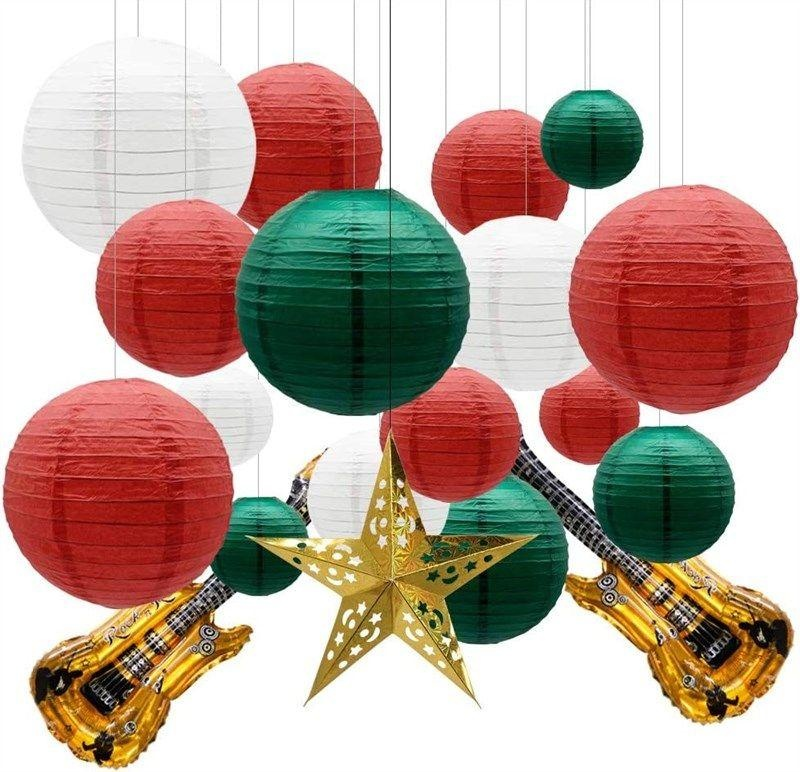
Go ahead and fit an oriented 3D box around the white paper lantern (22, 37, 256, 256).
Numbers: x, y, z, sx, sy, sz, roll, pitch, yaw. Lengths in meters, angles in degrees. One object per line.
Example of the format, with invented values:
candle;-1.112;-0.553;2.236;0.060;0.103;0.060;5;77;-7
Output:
white paper lantern;-0.952;-0.871;3.981;1.228;0.976;0.956;-1;6;-6

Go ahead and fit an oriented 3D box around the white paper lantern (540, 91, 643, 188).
white paper lantern;0.903;-1.123;4.419;0.481;0.399;0.389;3;19;16

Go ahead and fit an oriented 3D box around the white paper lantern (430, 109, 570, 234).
white paper lantern;0.496;-0.984;4.703;0.797;0.617;0.658;-1;9;0

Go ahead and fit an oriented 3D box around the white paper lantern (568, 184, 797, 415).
white paper lantern;0.832;-0.272;3.350;0.946;0.782;0.776;-1;2;1

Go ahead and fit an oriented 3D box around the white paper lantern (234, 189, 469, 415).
white paper lantern;-0.204;-0.261;2.995;0.830;0.564;0.624;-1;3;-23

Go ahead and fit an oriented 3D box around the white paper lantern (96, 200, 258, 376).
white paper lantern;-0.713;-0.397;3.824;0.817;0.679;0.697;-1;8;-4
